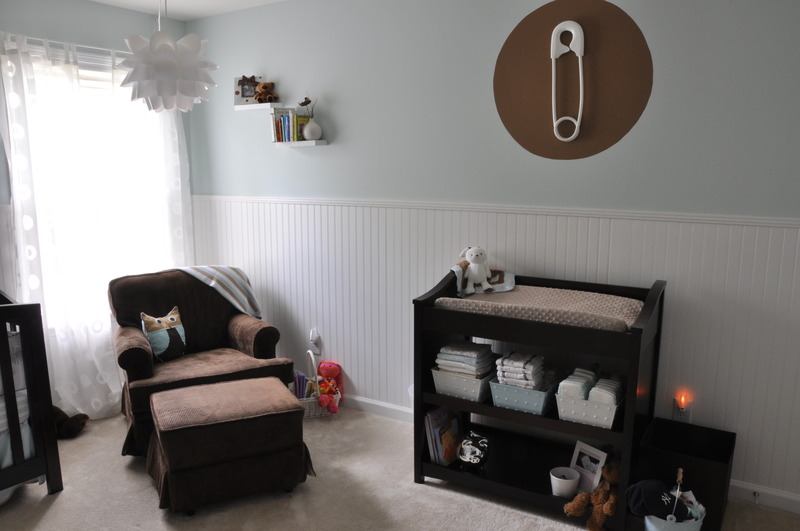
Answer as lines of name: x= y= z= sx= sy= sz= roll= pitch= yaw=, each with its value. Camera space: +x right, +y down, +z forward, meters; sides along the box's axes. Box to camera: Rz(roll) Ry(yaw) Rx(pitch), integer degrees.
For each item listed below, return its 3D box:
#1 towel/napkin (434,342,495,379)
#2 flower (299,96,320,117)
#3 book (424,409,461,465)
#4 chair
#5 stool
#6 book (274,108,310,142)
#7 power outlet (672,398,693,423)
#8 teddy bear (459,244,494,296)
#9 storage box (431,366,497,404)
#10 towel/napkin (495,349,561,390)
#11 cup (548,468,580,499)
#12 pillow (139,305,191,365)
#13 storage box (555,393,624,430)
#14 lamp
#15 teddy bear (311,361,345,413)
towel/napkin: x=0.430 y=0.565 z=3.593 sx=0.227 sy=0.091 sz=0.225 roll=3 pitch=6 yaw=31
flower: x=-0.716 y=-1.231 z=4.418 sx=0.158 sy=0.162 sz=0.072 roll=2 pitch=12 yaw=8
book: x=0.275 y=1.114 z=3.679 sx=0.097 sy=0.328 sz=0.239 roll=-11 pitch=-19 yaw=33
chair: x=-1.500 y=0.504 z=4.351 sx=1.229 sy=1.253 sz=1.328 roll=-4 pitch=6 yaw=-31
stool: x=-1.126 y=1.108 z=3.663 sx=0.991 sy=0.610 sz=0.791 roll=-3 pitch=10 yaw=-24
book: x=-0.835 y=-1.100 z=4.440 sx=0.269 sy=0.277 sz=0.182 roll=2 pitch=4 yaw=8
power outlet: x=1.764 y=0.902 z=3.546 sx=0.112 sy=0.124 sz=0.031 roll=6 pitch=11 yaw=33
teddy bear: x=0.500 y=0.028 z=3.718 sx=0.286 sy=0.390 sz=0.253 roll=-3 pitch=4 yaw=-12
storage box: x=0.367 y=0.729 z=3.558 sx=0.288 sy=0.128 sz=0.199 roll=2 pitch=2 yaw=27
towel/napkin: x=0.782 y=0.637 z=3.465 sx=0.235 sy=0.110 sz=0.238 roll=0 pitch=2 yaw=41
cup: x=0.984 y=1.287 z=3.393 sx=0.141 sy=0.120 sz=0.159 roll=-3 pitch=0 yaw=-9
pillow: x=-1.712 y=0.513 z=4.102 sx=0.157 sy=0.378 sz=0.305 roll=-27 pitch=-6 yaw=36
storage box: x=1.085 y=0.836 z=3.293 sx=0.249 sy=0.116 sz=0.162 roll=5 pitch=-1 yaw=26
lamp: x=-1.317 y=-1.115 z=3.249 sx=0.498 sy=0.433 sz=0.198 roll=-5 pitch=13 yaw=-26
teddy bear: x=-0.545 y=0.961 z=4.457 sx=0.215 sy=0.381 sz=0.264 roll=-1 pitch=11 yaw=-8
